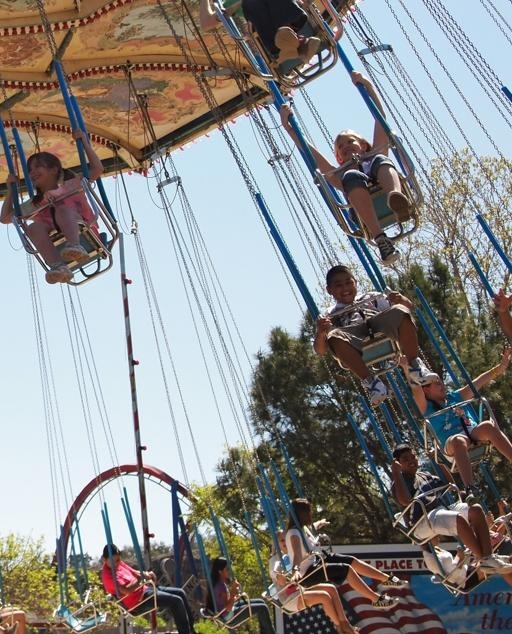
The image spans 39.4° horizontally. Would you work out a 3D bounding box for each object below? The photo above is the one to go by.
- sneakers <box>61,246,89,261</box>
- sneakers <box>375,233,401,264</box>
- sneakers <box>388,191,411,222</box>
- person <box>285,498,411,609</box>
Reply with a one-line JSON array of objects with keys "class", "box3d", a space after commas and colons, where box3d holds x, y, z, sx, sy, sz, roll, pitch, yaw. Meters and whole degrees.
[{"class": "sneakers", "box3d": [-1.365, -0.484, 5.419, 0.192, 0.078, 0.082, 13, -59, -16]}, {"class": "sneakers", "box3d": [0.825, -0.436, 4.599, 0.085, 0.241, 0.112, -31, -65, 3]}, {"class": "sneakers", "box3d": [0.963, -0.751, 4.826, 0.108, 0.090, 0.232, -25, -50, 3]}, {"class": "person", "box3d": [0.788, 2.039, 6.239, 1.104, 0.998, 0.626, 10, -82, 17]}]
